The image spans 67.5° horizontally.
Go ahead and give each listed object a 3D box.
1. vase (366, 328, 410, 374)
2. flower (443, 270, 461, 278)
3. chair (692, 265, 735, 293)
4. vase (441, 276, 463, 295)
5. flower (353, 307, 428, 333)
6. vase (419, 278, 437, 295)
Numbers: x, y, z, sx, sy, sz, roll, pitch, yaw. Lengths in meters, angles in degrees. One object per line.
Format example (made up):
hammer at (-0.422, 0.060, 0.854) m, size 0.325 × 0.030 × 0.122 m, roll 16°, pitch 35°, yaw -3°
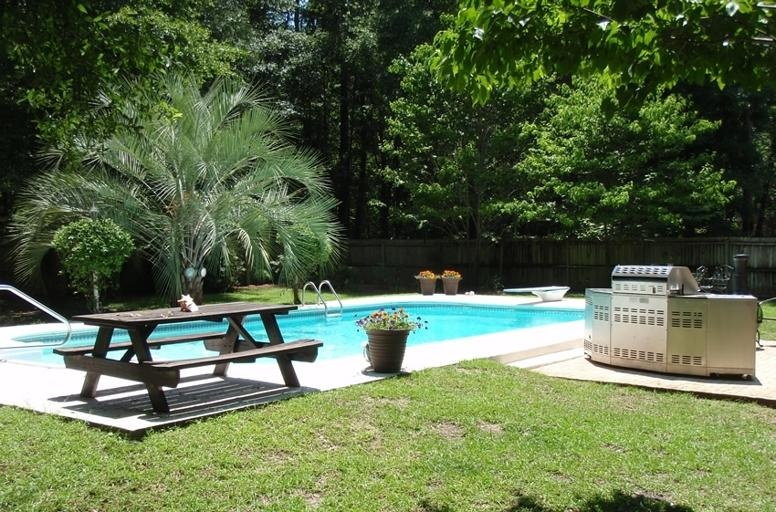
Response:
vase at (0.011, 1.281, 7.990) m, size 0.655 × 0.570 × 0.685 m, roll 0°, pitch -4°, yaw 5°
flower at (2.109, 0.585, 19.000) m, size 0.407 × 0.216 × 0.430 m, roll -1°, pitch -2°, yaw 11°
chair at (7.507, 0.522, 13.225) m, size 0.897 × 0.338 × 0.745 m, roll -3°, pitch 0°, yaw 32°
vase at (2.061, 0.950, 19.101) m, size 0.613 × 0.486 × 0.626 m, roll -1°, pitch -3°, yaw 32°
flower at (0.075, 0.909, 8.071) m, size 0.752 × 0.404 × 0.835 m, roll 6°, pitch 10°, yaw 28°
vase at (1.282, 0.969, 18.882) m, size 0.519 × 0.467 × 0.515 m, roll -1°, pitch 0°, yaw 27°
